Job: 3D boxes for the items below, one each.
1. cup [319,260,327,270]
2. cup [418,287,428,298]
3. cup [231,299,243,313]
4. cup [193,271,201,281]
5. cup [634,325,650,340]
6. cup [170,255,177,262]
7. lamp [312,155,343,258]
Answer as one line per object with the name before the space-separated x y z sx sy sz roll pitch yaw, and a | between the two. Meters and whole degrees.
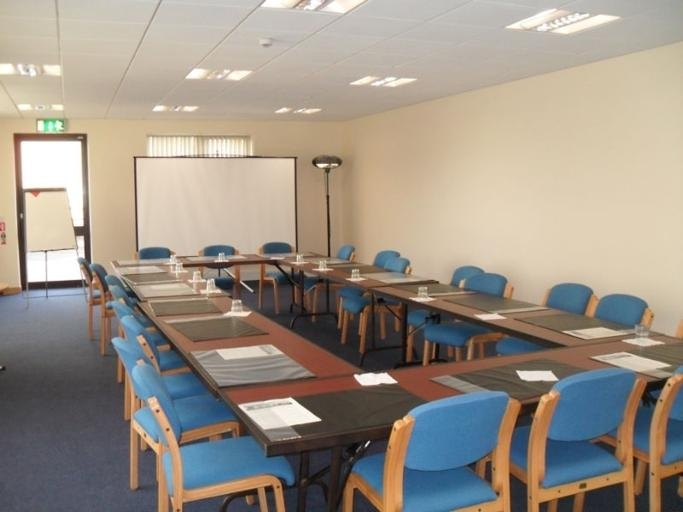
cup | -0.259 0.127 6.636 0.140 0.134 0.124 0 2 -7
cup | 0.804 0.359 4.883 0.110 0.095 0.097 0 -2 -1
cup | -0.942 0.434 4.327 0.122 0.096 0.106 0 5 1
cup | -1.660 0.228 5.666 0.072 0.057 0.117 -3 -1 -7
cup | 2.178 0.549 3.602 0.116 0.095 0.125 0 -1 0
cup | -2.489 0.036 7.308 0.065 0.052 0.101 -4 21 -9
lamp | -0.279 -1.078 10.769 0.660 2.229 1.243 -3 8 -1
